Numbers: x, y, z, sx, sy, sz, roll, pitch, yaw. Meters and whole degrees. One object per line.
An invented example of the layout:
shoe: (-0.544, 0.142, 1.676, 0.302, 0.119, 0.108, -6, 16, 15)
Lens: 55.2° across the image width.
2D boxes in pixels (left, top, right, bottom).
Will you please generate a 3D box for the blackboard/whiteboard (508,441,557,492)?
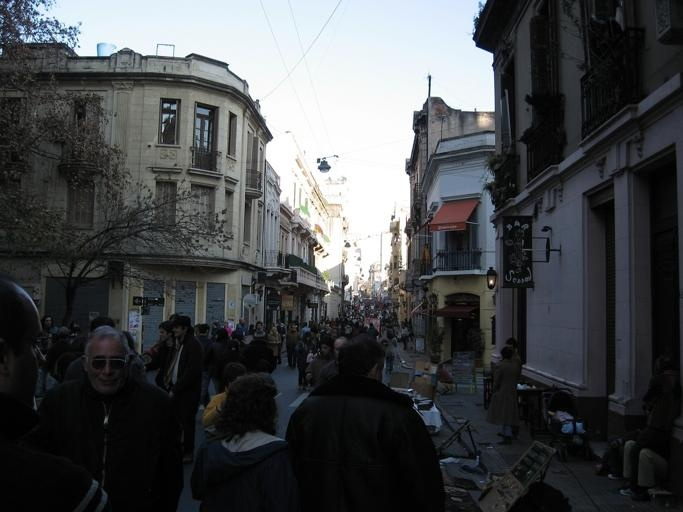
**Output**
blackboard/whiteboard: (2.326, 2.510, 7.944, 0.216, 0.681, 0.428, 43, -13, -25)

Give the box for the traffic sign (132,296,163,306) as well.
traffic sign: (-7.521, 1.731, 25.241, 0.692, 0.226, 0.810, 0, -2, 20)

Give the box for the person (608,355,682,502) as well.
person: (4.262, 2.349, 8.977, 0.738, 1.884, 0.476, -1, -5, 23)

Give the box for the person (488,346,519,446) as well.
person: (3.114, 2.613, 12.504, 0.544, 1.722, 0.627, 4, -7, -31)
